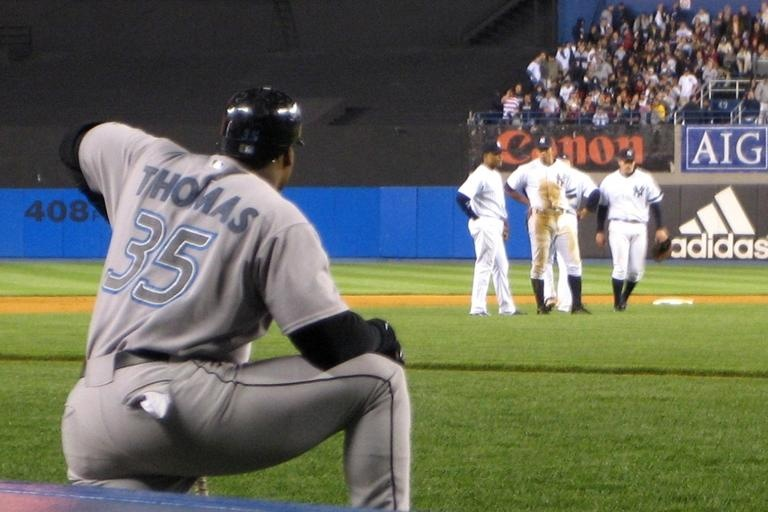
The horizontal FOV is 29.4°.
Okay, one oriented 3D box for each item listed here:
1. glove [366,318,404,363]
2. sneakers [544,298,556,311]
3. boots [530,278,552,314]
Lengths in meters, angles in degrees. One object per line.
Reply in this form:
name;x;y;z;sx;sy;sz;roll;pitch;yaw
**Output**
glove;0.064;1.292;22.645;0.431;0.894;0.329;-2;-21;-36
sneakers;3.265;0.939;29.206;0.216;0.256;0.112;1;17;-44
boots;3.115;0.777;29.137;0.357;0.702;0.349;0;9;6
